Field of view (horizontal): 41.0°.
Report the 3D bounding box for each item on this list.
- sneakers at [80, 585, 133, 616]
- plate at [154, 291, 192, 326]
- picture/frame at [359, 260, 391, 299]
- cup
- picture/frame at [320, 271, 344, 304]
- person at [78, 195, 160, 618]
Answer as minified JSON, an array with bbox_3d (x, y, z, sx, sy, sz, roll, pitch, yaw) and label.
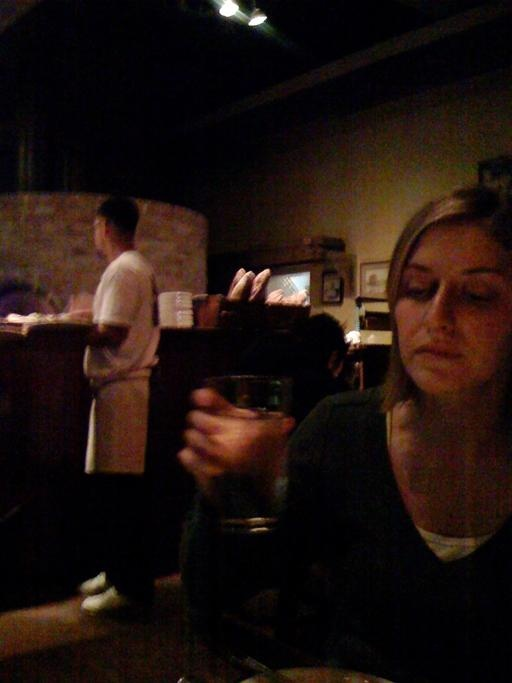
[{"bbox_3d":[-0.374,0.637,1.702,0.113,0.048,0.067,4,-16,8],"label":"sneakers"},{"bbox_3d":[-0.194,-0.073,1.646,0.092,0.068,0.092,0,-3,12],"label":"plate"},{"bbox_3d":[0.177,-0.091,1.007,0.059,0.058,0.004,1,-9,35],"label":"picture/frame"},{"bbox_3d":[-0.010,0.194,1.087,0.115,0.252,0.208,4,0,7],"label":"cup"},{"bbox_3d":[0.112,-0.079,1.002,0.048,0.068,0.012,1,2,42],"label":"picture/frame"},{"bbox_3d":[-0.337,0.153,1.737,0.205,1.056,0.212,4,0,-15],"label":"person"}]
